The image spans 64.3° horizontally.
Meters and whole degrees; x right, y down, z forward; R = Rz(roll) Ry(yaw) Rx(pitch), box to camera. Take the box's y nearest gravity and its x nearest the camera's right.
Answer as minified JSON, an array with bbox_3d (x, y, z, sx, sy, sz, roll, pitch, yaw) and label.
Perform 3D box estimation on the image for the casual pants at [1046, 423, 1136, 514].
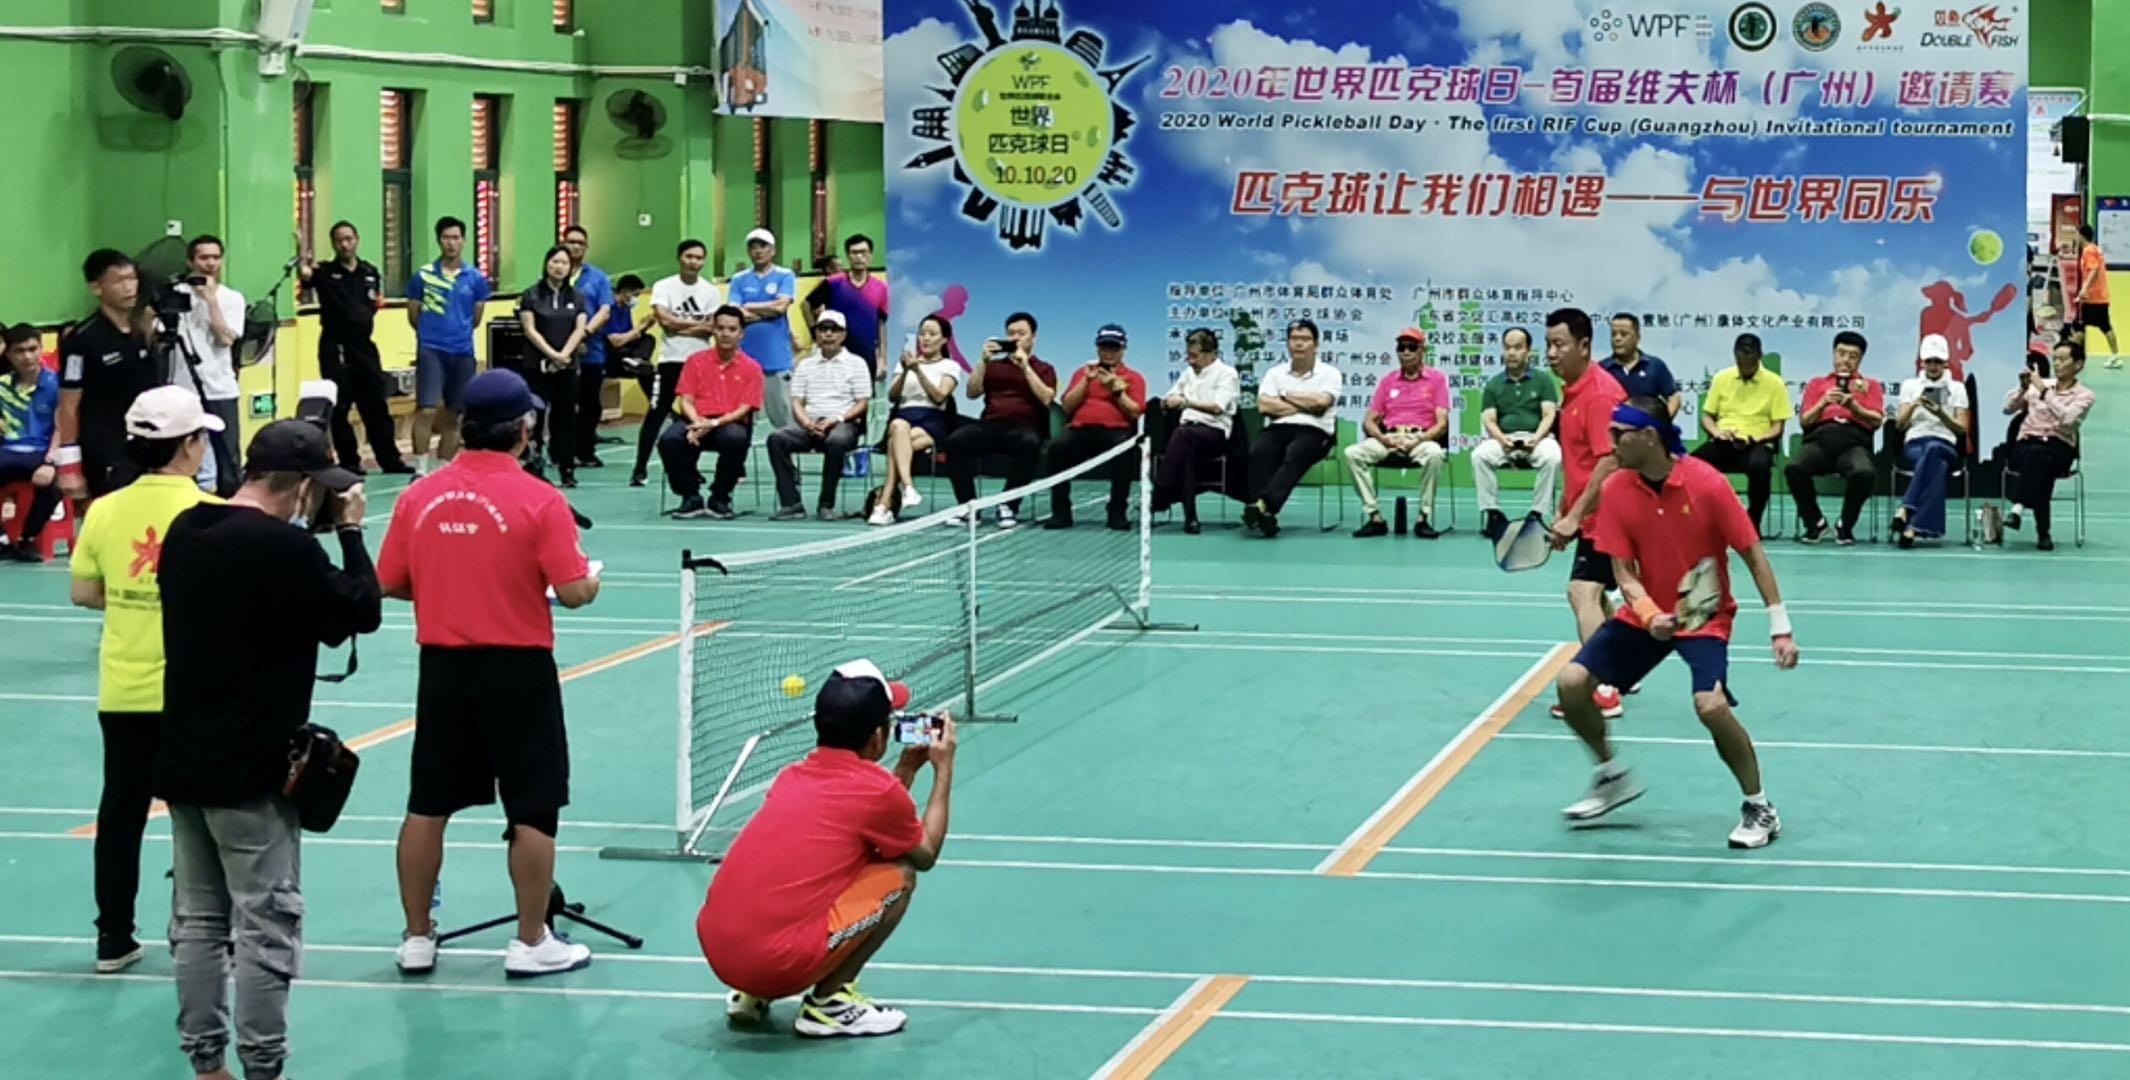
[{"bbox_3d":[0.327,-0.855,21.373,1.285,1.443,1.116,-1,-9,6],"label":"casual pants"}]

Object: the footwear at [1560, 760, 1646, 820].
[{"bbox_3d":[3.971,1.824,12.420,0.757,0.331,0.288,-24,11,-31],"label":"footwear"}]

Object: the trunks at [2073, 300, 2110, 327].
[{"bbox_3d":[21.627,-4.759,35.517,0.736,0.499,0.407,2,13,3],"label":"trunks"}]

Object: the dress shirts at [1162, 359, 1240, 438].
[{"bbox_3d":[1.701,-1.802,21.266,0.852,0.862,1.397,-3,11,-28],"label":"dress shirts"}]

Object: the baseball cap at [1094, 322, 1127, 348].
[{"bbox_3d":[0.570,-2.533,21.318,0.352,0.278,0.498,4,-19,4],"label":"baseball cap"}]

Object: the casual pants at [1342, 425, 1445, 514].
[{"bbox_3d":[4.245,-0.779,21.649,1.159,0.839,1.118,0,-26,13],"label":"casual pants"}]

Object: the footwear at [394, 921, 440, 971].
[{"bbox_3d":[-4.017,2.511,10.411,0.247,0.272,0.233,-2,6,-18],"label":"footwear"}]

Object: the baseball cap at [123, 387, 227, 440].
[{"bbox_3d":[-4.948,-0.729,9.521,0.579,0.253,0.417,-10,17,-35],"label":"baseball cap"}]

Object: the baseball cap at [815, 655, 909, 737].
[{"bbox_3d":[-1.163,0.926,9.650,0.346,0.317,0.504,9,50,15],"label":"baseball cap"}]

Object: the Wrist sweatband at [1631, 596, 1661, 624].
[{"bbox_3d":[4.101,0.493,11.897,0.197,0.184,0.072,-35,-23,19],"label":"Wrist sweatband"}]

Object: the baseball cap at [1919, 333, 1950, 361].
[{"bbox_3d":[10.846,-2.369,20.984,0.498,0.259,0.717,2,11,19],"label":"baseball cap"}]

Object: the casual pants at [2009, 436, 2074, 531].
[{"bbox_3d":[11.942,-0.701,20.565,0.977,1.032,0.539,8,3,22],"label":"casual pants"}]

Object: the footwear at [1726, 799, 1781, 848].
[{"bbox_3d":[4.899,2.017,11.989,0.221,0.245,0.525,-1,2,30],"label":"footwear"}]

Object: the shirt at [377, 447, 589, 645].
[{"bbox_3d":[-3.500,0.087,10.406,1.580,1.145,0.847,2,7,17],"label":"shirt"}]

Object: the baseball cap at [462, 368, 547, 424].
[{"bbox_3d":[-3.348,-0.872,10.219,0.477,0.222,0.341,-16,28,-37],"label":"baseball cap"}]

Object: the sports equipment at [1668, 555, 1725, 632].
[{"bbox_3d":[4.453,0.379,11.829,0.408,0.500,0.168,22,3,25],"label":"sports equipment"}]

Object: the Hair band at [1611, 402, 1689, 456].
[{"bbox_3d":[4.105,-0.823,11.860,0.533,0.258,0.398,20,7,26],"label":"Hair band"}]

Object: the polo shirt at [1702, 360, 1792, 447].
[{"bbox_3d":[8.584,-1.755,21.072,1.195,0.877,0.664,12,28,44],"label":"polo shirt"}]

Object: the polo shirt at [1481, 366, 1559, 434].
[{"bbox_3d":[5.702,-1.720,20.991,1.191,0.886,0.556,-2,-6,9],"label":"polo shirt"}]

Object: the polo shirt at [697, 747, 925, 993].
[{"bbox_3d":[-1.528,1.883,10.004,1.027,1.179,1.549,11,19,14],"label":"polo shirt"}]

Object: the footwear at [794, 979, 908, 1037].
[{"bbox_3d":[-1.251,2.730,9.920,0.716,0.319,0.266,-1,-3,-2],"label":"footwear"}]

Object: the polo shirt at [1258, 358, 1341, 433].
[{"bbox_3d":[3.048,-1.847,21.643,1.156,0.954,0.683,3,13,22],"label":"polo shirt"}]

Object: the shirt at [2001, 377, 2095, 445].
[{"bbox_3d":[12.240,-1.541,20.714,0.991,0.714,0.827,11,-2,-27],"label":"shirt"}]
